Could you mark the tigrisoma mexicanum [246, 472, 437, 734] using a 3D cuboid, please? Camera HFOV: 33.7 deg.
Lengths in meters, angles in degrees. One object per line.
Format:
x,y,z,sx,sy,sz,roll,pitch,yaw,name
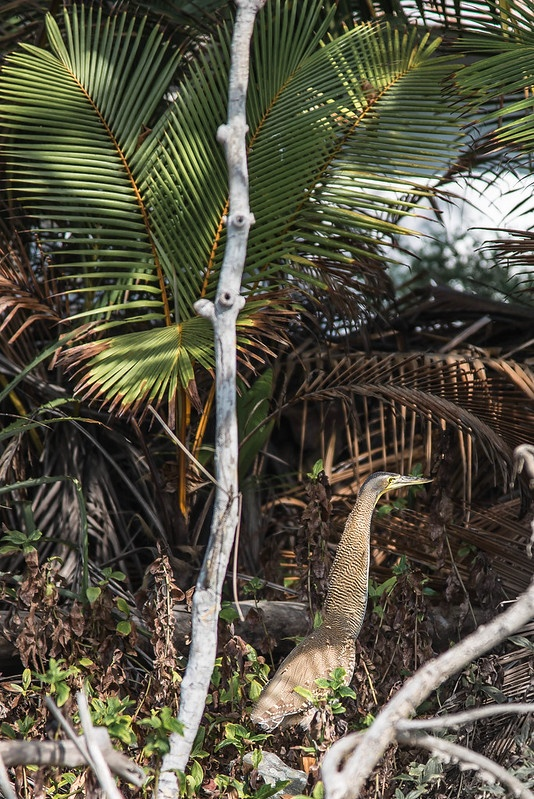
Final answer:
0.189,0.607,2.545,0.674,0.781,0.244,-14,25,-26,tigrisoma mexicanum
